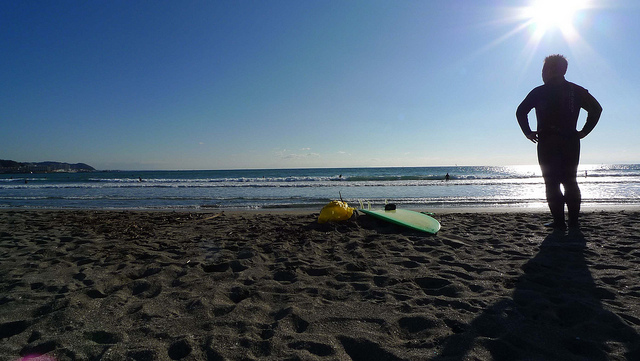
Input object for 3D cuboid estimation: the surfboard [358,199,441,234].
[{"bbox_3d":[1.810,0.803,9.265,0.635,0.361,1.810,-6,11,-24],"label":"surfboard"}]
